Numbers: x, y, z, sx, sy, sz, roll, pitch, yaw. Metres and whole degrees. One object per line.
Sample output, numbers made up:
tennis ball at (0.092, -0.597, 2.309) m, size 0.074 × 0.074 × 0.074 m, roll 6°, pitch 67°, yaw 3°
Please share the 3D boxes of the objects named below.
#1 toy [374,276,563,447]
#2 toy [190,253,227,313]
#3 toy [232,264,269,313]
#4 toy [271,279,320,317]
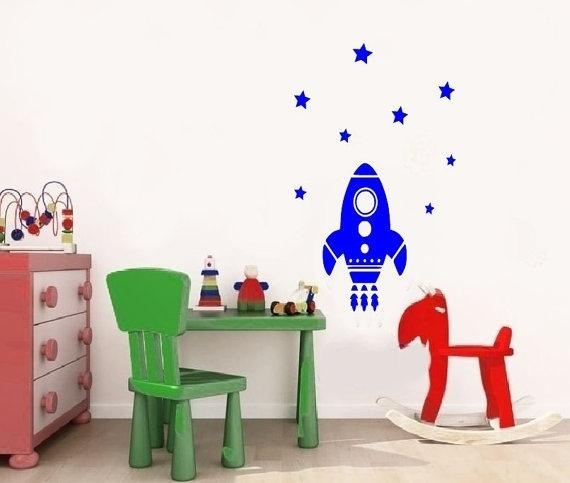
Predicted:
toy at (0.998, 0.659, 3.311) m, size 0.776 × 0.842 × 0.402 m, roll -2°, pitch -2°, yaw 14°
toy at (-0.401, 0.195, 3.173) m, size 0.169 × 0.293 × 0.183 m, roll -2°, pitch -2°, yaw 33°
toy at (-0.178, 0.232, 3.186) m, size 0.181 × 0.270 × 0.091 m, roll 1°, pitch -8°, yaw -5°
toy at (0.068, 0.265, 3.081) m, size 0.178 × 0.160 × 0.106 m, roll -1°, pitch 3°, yaw -31°
